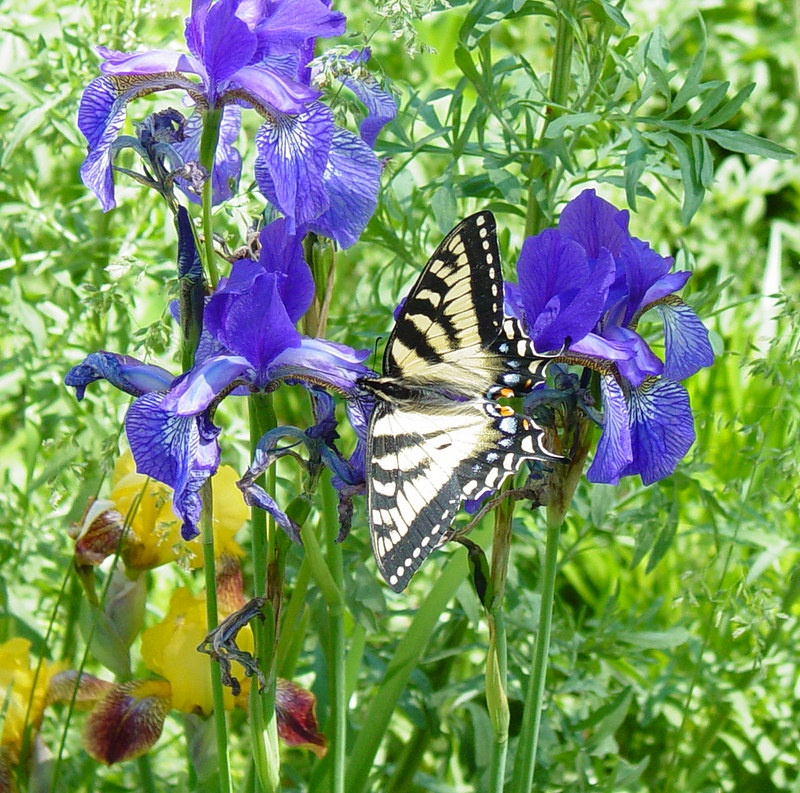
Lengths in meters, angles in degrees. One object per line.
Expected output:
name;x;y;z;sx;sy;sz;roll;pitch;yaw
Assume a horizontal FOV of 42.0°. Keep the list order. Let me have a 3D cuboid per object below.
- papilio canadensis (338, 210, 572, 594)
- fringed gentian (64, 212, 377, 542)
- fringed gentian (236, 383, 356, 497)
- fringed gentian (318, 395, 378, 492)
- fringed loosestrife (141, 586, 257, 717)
papilio canadensis;0.042;0.001;0.773;0.159;0.263;0.237;-2;20;16
fringed gentian;-0.129;-0.020;0.747;0.223;0.230;0.103;11;6;-10
fringed gentian;-0.058;0.027;0.739;0.087;0.059;0.093;13;20;29
fringed gentian;-0.035;0.037;0.757;0.052;0.061;0.023;7;3;29
fringed loosestrife;-0.177;0.221;0.913;0.080;0.126;0.100;-2;2;-16
